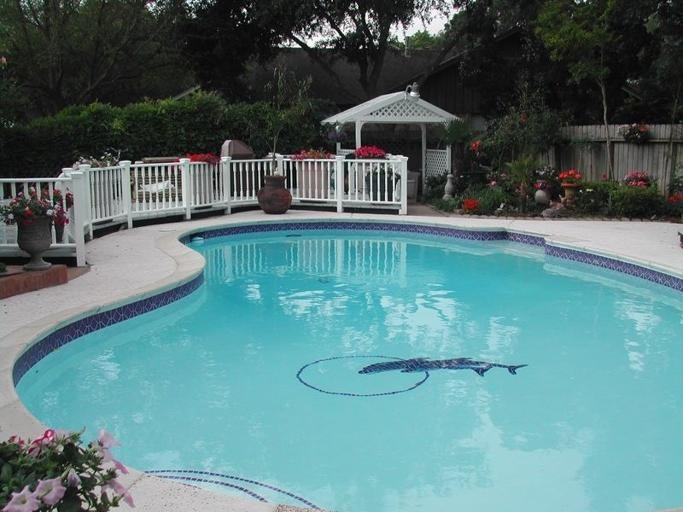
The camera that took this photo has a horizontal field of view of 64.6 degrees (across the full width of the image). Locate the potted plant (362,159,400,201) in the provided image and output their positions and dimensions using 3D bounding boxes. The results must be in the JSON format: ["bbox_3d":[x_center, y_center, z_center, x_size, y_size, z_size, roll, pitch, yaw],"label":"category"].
[{"bbox_3d":[0.992,-1.943,14.640,0.837,0.803,0.691,-8,10,6],"label":"potted plant"}]

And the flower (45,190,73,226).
[{"bbox_3d":[-4.052,-0.724,7.758,0.386,0.434,0.320,20,14,-18],"label":"flower"}]

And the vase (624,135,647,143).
[{"bbox_3d":[7.849,-3.193,14.389,0.305,0.219,0.308,-5,13,-24],"label":"vase"}]

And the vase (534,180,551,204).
[{"bbox_3d":[5.265,-1.689,14.172,0.362,0.647,0.472,4,13,19],"label":"vase"}]

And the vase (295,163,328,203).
[{"bbox_3d":[-0.799,-2.155,15.069,1.008,1.049,0.384,1,7,13],"label":"vase"}]

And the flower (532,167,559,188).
[{"bbox_3d":[5.518,-2.170,14.590,0.659,0.536,0.761,3,11,15],"label":"flower"}]

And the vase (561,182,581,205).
[{"bbox_3d":[5.832,-1.640,14.038,0.544,0.549,0.554,4,7,41],"label":"vase"}]

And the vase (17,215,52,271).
[{"bbox_3d":[-4.273,-0.188,7.497,0.522,0.730,0.518,-4,1,-25],"label":"vase"}]

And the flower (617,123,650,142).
[{"bbox_3d":[7.788,-3.281,14.370,0.516,0.416,0.587,5,14,24],"label":"flower"}]

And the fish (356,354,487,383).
[{"bbox_3d":[0.916,1.188,5.829,1.176,0.088,0.453,-2,12,0],"label":"fish"}]

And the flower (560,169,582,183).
[{"bbox_3d":[5.972,-2.100,14.151,0.445,0.305,0.472,-1,13,-2],"label":"flower"}]

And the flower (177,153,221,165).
[{"bbox_3d":[-3.482,-2.412,13.464,0.381,0.269,1.099,6,15,27],"label":"flower"}]

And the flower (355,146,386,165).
[{"bbox_3d":[0.740,-2.739,14.286,0.856,0.347,0.589,5,14,23],"label":"flower"}]
